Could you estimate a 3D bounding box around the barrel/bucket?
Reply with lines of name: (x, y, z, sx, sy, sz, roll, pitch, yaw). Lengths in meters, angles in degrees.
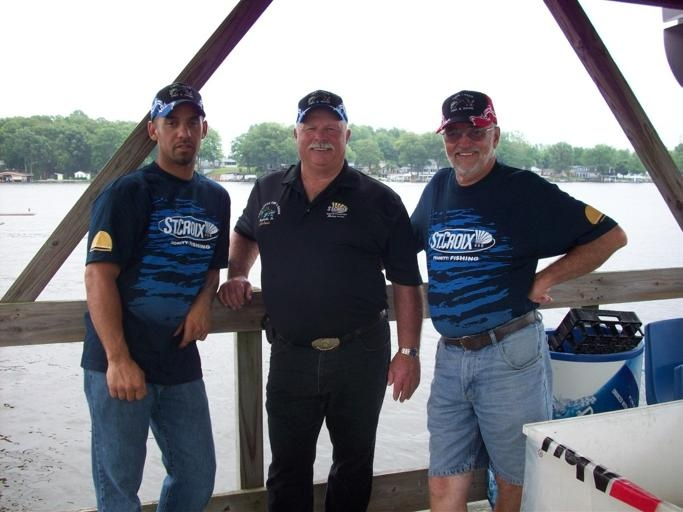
barrel/bucket: (1.162, 0.946, 4.305, 1.143, 1.158, 1.081, -3, 3, 0)

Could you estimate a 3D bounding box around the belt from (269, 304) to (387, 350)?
belt: (-0.125, 0.390, 3.249, 0.320, 0.070, 0.274, -8, 24, 17)

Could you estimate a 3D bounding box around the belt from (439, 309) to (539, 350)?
belt: (0.756, 0.380, 3.250, 0.473, 0.205, 0.140, 2, 3, 7)

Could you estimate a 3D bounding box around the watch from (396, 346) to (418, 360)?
watch: (0.356, 0.509, 3.342, 0.085, 0.049, 0.082, 4, -11, -26)

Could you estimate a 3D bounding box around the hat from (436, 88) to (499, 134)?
hat: (0.639, -0.742, 3.290, 0.212, 0.138, 0.289, 2, 7, 35)
